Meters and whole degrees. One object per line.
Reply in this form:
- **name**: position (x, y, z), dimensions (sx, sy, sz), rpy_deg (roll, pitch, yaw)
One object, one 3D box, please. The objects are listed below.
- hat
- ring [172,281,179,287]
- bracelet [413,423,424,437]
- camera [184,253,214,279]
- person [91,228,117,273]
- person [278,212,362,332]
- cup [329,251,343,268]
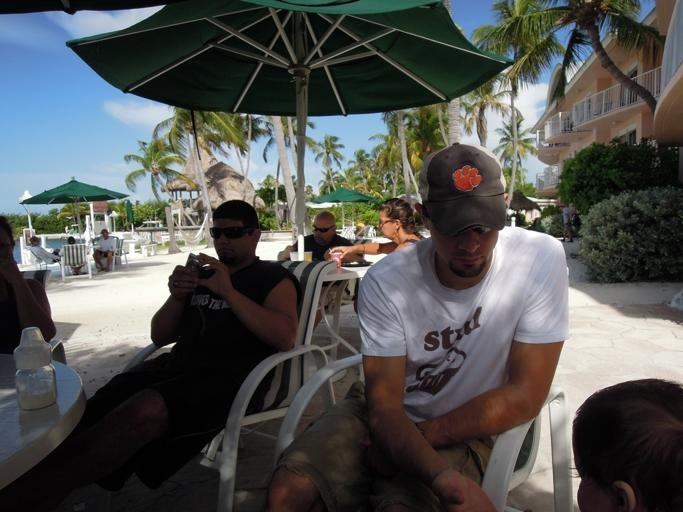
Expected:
- **hat**: position (0.494, -0.283, 1.800), dimensions (0.257, 0.229, 0.413), rpy_deg (-3, 31, 6)
- **ring**: position (-0.971, 0.160, 2.588), dimensions (0.030, 0.032, 0.014), rpy_deg (-22, -1, 10)
- **bracelet**: position (0.328, 0.723, 1.864), dimensions (0.013, 0.048, 0.047), rpy_deg (-31, -8, 10)
- **camera**: position (-0.820, 0.052, 2.602), dimensions (0.163, 0.127, 0.060), rpy_deg (35, 6, 12)
- **person**: position (-7.740, -0.235, 14.491), dimensions (0.678, 1.218, 0.807), rpy_deg (5, 13, 3)
- **person**: position (-0.190, 0.152, 6.128), dimensions (1.373, 1.998, 1.097), rpy_deg (1, 3, 15)
- **cup**: position (-0.062, 0.020, 4.481), dimensions (0.123, 0.151, 0.130), rpy_deg (-1, 2, 0)
